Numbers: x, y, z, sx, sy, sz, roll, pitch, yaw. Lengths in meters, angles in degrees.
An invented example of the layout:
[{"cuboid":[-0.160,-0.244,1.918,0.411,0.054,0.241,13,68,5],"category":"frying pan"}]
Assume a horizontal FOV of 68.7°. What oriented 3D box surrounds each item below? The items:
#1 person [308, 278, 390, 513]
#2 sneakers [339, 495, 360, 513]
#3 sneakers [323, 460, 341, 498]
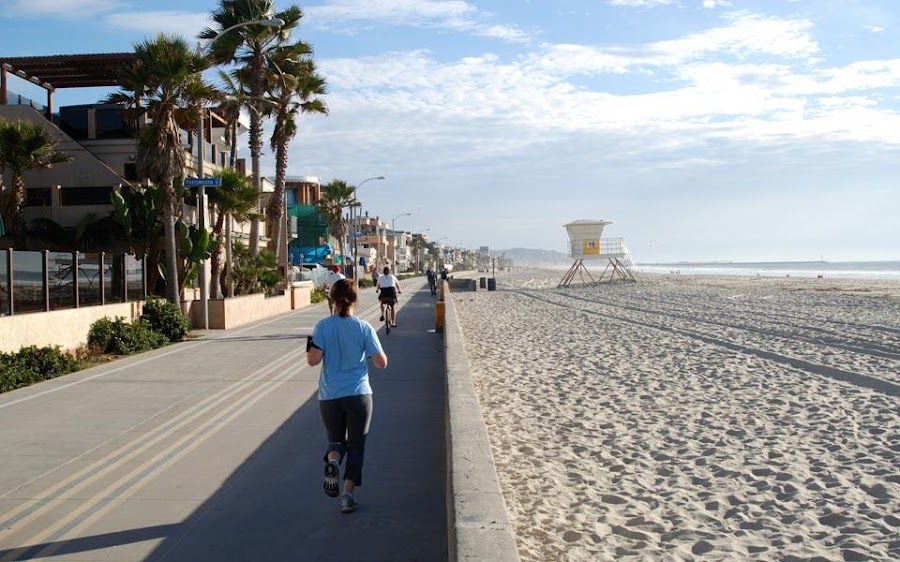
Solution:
[{"cuboid":[-1.350,1.501,8.475,0.916,3.009,0.469,0,3,-10],"category":"person"},{"cuboid":[-1.321,2.900,8.537,0.136,0.143,0.328,1,2,7],"category":"sneakers"},{"cuboid":[-1.498,2.504,8.423,0.270,0.521,0.261,-2,-7,10],"category":"sneakers"}]
